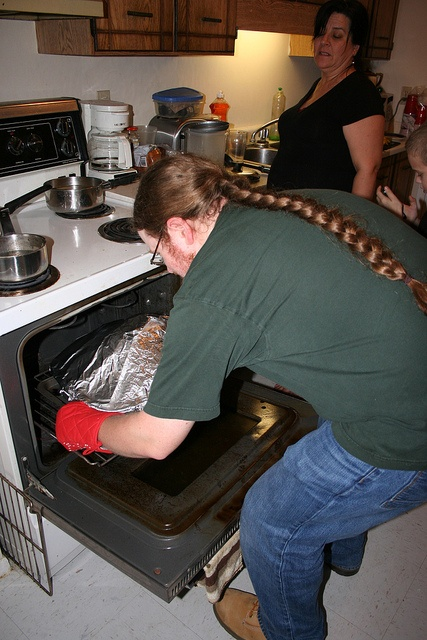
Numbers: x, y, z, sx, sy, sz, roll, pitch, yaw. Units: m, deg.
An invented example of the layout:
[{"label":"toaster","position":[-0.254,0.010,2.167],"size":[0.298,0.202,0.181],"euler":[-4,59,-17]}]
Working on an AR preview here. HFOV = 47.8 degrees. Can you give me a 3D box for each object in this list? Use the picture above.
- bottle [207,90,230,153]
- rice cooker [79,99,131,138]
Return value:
[{"label":"bottle","position":[0.025,-1.089,2.547],"size":[0.040,0.223,0.124],"euler":[13,27,20]},{"label":"rice cooker","position":[-0.388,-0.725,1.745],"size":[0.173,0.122,0.145],"euler":[-6,30,-13]}]
